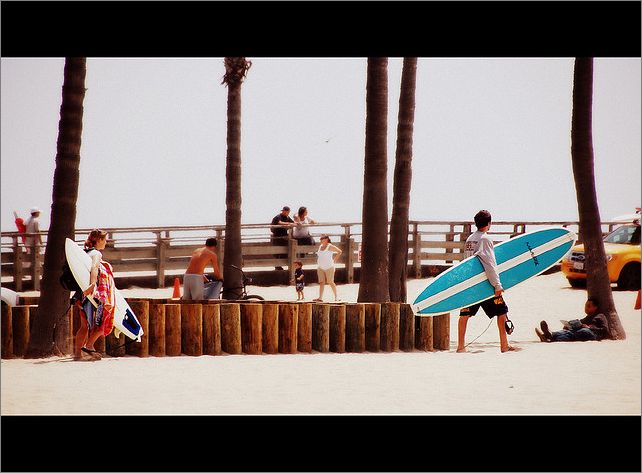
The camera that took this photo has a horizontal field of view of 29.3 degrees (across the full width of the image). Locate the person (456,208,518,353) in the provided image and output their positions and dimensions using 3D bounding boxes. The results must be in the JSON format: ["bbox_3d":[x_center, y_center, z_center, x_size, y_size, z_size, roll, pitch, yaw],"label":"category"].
[{"bbox_3d":[2.444,0.674,18.005,0.858,2.370,1.226,3,14,9],"label":"person"}]

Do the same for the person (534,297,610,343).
[{"bbox_3d":[3.948,1.331,19.191,1.137,0.708,0.561,-2,-8,-15],"label":"person"}]

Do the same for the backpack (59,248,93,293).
[{"bbox_3d":[-3.506,0.485,17.139,0.401,0.575,0.570,5,1,-5],"label":"backpack"}]
